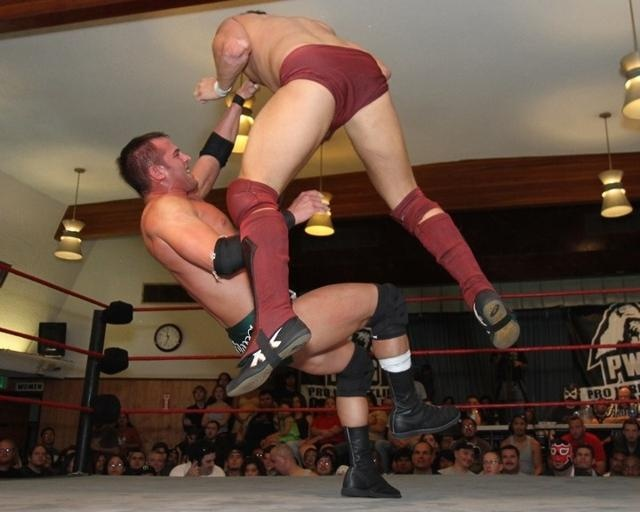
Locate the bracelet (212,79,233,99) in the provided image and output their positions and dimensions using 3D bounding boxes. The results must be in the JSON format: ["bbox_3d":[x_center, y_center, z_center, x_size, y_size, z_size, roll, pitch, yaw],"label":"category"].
[{"bbox_3d":[-0.374,-0.632,1.925,0.089,0.056,0.080,-2,5,6],"label":"bracelet"}]

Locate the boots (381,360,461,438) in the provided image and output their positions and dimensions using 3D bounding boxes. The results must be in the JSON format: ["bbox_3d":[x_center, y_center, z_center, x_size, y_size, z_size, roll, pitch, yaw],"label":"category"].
[{"bbox_3d":[0.349,0.497,1.769,0.278,0.228,0.106,-2,-5,-27],"label":"boots"}]

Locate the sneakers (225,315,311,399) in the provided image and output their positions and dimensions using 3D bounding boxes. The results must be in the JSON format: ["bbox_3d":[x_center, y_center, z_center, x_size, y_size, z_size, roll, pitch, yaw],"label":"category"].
[{"bbox_3d":[-0.138,0.254,1.310,0.215,0.183,0.112,-17,-23,36],"label":"sneakers"}]

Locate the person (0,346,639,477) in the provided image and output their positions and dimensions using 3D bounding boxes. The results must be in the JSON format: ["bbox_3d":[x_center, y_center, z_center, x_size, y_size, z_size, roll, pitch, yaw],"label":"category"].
[{"bbox_3d":[0.037,1.740,5.601,3.960,0.780,1.309,-2,-8,10],"label":"person"}]

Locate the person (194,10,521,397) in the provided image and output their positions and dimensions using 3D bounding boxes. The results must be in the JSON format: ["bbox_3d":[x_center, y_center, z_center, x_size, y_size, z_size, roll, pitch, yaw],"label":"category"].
[{"bbox_3d":[0.033,-0.326,1.767,0.972,1.461,0.668,-7,-17,-16],"label":"person"}]

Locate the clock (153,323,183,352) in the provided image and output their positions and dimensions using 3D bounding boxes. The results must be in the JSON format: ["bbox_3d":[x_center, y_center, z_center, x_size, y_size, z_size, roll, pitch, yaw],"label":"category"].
[{"bbox_3d":[-2.661,1.423,8.927,0.564,0.459,0.105,1,-7,14],"label":"clock"}]
